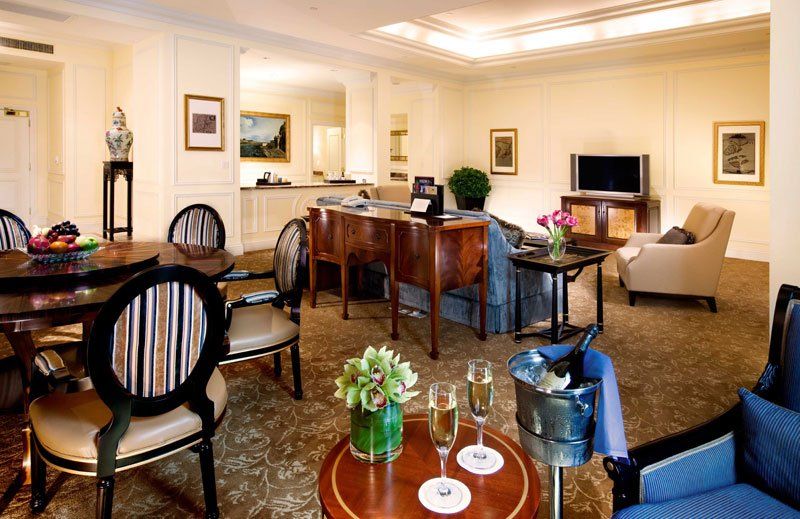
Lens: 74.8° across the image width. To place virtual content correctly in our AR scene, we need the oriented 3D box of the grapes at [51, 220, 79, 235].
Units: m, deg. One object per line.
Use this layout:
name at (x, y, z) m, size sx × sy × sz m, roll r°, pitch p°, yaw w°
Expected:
grapes at (-2.215, -0.191, 3.471) m, size 0.112 × 0.051 × 0.116 m, roll 4°, pitch 0°, yaw 14°

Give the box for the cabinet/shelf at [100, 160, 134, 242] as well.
cabinet/shelf at (-4.085, -0.838, 7.537) m, size 0.457 × 1.176 × 1.481 m, roll -6°, pitch 14°, yaw -29°

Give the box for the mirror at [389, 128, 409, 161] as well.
mirror at (-0.032, -2.629, 12.272) m, size 0.101 × 0.731 × 0.555 m, roll -8°, pitch 14°, yaw -35°

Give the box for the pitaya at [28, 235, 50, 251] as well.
pitaya at (-2.311, -0.103, 3.356) m, size 0.097 × 0.104 × 0.100 m, roll 0°, pitch 1°, yaw 20°

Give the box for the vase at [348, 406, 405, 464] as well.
vase at (-0.119, 0.772, 2.376) m, size 0.228 × 0.247 × 0.224 m, roll 4°, pitch -6°, yaw -35°

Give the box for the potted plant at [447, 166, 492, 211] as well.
potted plant at (1.352, -1.335, 10.149) m, size 0.784 × 0.791 × 0.777 m, roll 5°, pitch 10°, yaw 10°

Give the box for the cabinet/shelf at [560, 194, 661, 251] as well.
cabinet/shelf at (3.308, -0.546, 8.362) m, size 0.463 × 0.905 × 1.474 m, roll -13°, pitch 16°, yaw -35°

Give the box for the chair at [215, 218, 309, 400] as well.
chair at (-1.088, 0.325, 3.641) m, size 0.802 × 1.172 × 0.775 m, roll -8°, pitch 16°, yaw -38°

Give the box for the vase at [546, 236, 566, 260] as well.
vase at (1.348, -0.076, 4.488) m, size 0.167 × 0.208 × 0.154 m, roll 3°, pitch 4°, yaw 21°

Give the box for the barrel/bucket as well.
barrel/bucket at (0.634, 0.610, 2.127) m, size 0.386 × 0.364 × 0.392 m, roll 1°, pitch 12°, yaw 0°

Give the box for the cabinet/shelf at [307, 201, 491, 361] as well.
cabinet/shelf at (-0.102, 0.105, 4.984) m, size 0.624 × 1.083 × 1.875 m, roll -7°, pitch 13°, yaw -39°

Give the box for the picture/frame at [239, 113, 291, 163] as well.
picture/frame at (-2.894, -2.535, 10.941) m, size 0.060 × 1.170 × 1.595 m, roll 13°, pitch 14°, yaw 40°

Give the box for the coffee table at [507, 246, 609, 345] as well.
coffee table at (1.427, 0.340, 4.667) m, size 0.892 × 0.710 × 0.567 m, roll -7°, pitch 7°, yaw -38°

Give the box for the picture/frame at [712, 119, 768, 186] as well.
picture/frame at (4.848, -1.515, 7.410) m, size 0.084 × 1.211 × 0.856 m, roll -7°, pitch 10°, yaw -41°

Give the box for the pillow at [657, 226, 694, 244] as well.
pillow at (2.891, -0.222, 5.426) m, size 0.219 × 0.099 × 0.226 m, roll -17°, pitch 19°, yaw 27°

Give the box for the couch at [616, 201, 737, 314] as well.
couch at (2.936, -0.087, 5.753) m, size 1.155 × 1.211 × 1.099 m, roll 0°, pitch 5°, yaw 17°

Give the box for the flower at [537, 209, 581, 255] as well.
flower at (1.333, -0.195, 4.550) m, size 0.347 × 0.407 × 0.357 m, roll 4°, pitch -8°, yaw -41°

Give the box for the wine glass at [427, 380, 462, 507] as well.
wine glass at (0.178, 0.728, 2.206) m, size 0.109 × 0.443 × 0.212 m, roll 1°, pitch 12°, yaw 3°
